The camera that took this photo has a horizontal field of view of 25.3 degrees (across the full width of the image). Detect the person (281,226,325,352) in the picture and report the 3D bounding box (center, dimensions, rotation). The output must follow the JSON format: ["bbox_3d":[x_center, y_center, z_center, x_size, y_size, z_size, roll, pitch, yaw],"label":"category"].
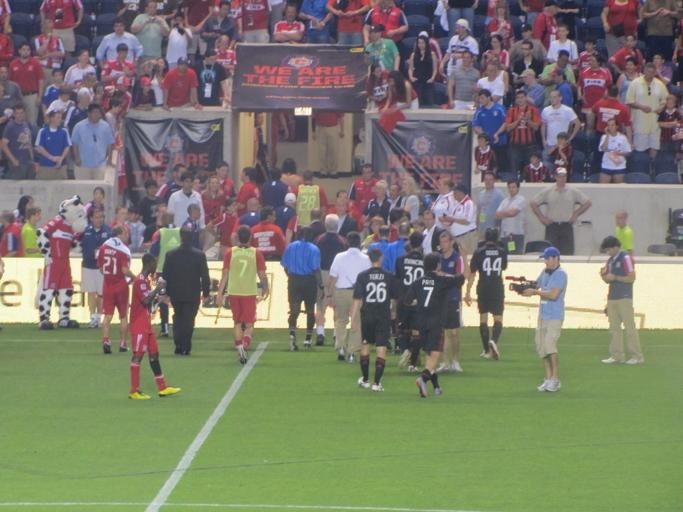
[{"bbox_3d":[-0.852,0.713,32.839,0.818,2.648,0.680,-1,4,-2],"label":"person"}]

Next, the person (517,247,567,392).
[{"bbox_3d":[3.966,1.250,29.491,0.810,2.795,1.268,0,4,11],"label":"person"}]

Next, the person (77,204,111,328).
[{"bbox_3d":[-5.659,0.299,34.549,0.466,2.904,0.787,9,13,-8],"label":"person"}]

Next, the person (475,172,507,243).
[{"bbox_3d":[3.475,-0.802,36.669,0.732,2.184,0.598,-3,-14,44],"label":"person"}]

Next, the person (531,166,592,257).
[{"bbox_3d":[5.368,-1.061,37.122,1.317,2.085,0.635,0,4,9],"label":"person"}]

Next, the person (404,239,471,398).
[{"bbox_3d":[1.748,1.337,28.812,0.950,2.733,0.528,0,4,4],"label":"person"}]

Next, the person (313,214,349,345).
[{"bbox_3d":[-0.343,0.448,33.804,0.674,2.714,0.854,0,11,-14],"label":"person"}]

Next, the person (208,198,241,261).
[{"bbox_3d":[-2.726,-0.693,36.372,0.671,1.632,0.596,1,12,-1],"label":"person"}]

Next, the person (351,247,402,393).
[{"bbox_3d":[0.667,1.240,29.309,0.781,2.753,0.494,1,4,28],"label":"person"}]

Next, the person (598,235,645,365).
[{"bbox_3d":[5.793,0.892,31.737,0.775,2.609,0.757,-1,3,34],"label":"person"}]

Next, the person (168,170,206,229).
[{"bbox_3d":[-3.601,-1.268,35.747,0.749,1.448,0.674,-7,17,-28],"label":"person"}]

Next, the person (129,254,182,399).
[{"bbox_3d":[-3.646,1.246,28.623,0.705,2.778,0.971,8,10,-1],"label":"person"}]

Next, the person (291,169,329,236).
[{"bbox_3d":[-0.793,-1.265,36.349,0.636,1.465,0.670,2,16,19],"label":"person"}]

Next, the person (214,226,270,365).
[{"bbox_3d":[-1.992,0.796,31.204,0.952,2.772,1.179,-1,4,-4],"label":"person"}]

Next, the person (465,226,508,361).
[{"bbox_3d":[3.122,0.785,32.004,0.836,2.730,0.943,1,3,16],"label":"person"}]

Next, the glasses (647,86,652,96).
[{"bbox_3d":[8.068,-4.227,39.650,0.097,0.223,0.042,-2,4,-16],"label":"glasses"}]

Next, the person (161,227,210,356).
[{"bbox_3d":[-3.227,0.777,31.480,0.882,2.520,0.681,-5,13,-39],"label":"person"}]
